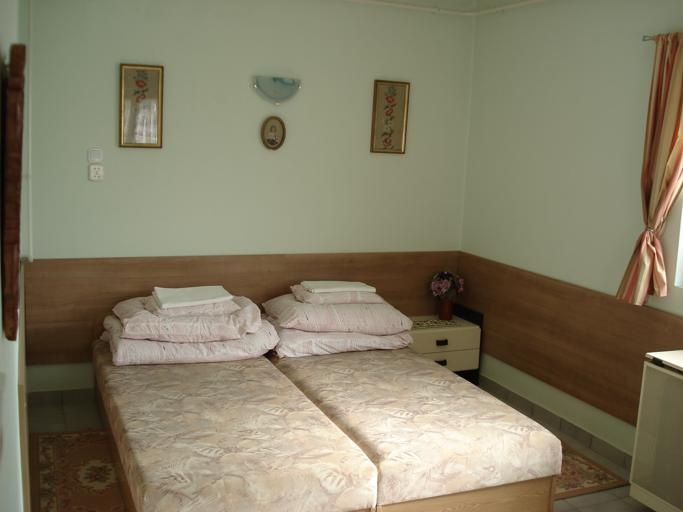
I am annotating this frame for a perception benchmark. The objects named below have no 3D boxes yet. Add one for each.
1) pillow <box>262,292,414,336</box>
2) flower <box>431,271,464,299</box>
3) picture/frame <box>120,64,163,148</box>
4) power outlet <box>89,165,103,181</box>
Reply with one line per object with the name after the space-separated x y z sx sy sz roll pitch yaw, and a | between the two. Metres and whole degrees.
-0.026 0.438 3.624 1.040 0.198 0.413 2 11 -9 | pillow
0.901 0.234 4.203 0.249 0.177 0.249 3 -1 -10 | flower
-1.394 -1.047 3.435 0.282 0.567 0.072 -1 13 -19 | picture/frame
-1.693 -0.579 3.392 0.103 0.141 0.071 -2 10 -28 | power outlet
